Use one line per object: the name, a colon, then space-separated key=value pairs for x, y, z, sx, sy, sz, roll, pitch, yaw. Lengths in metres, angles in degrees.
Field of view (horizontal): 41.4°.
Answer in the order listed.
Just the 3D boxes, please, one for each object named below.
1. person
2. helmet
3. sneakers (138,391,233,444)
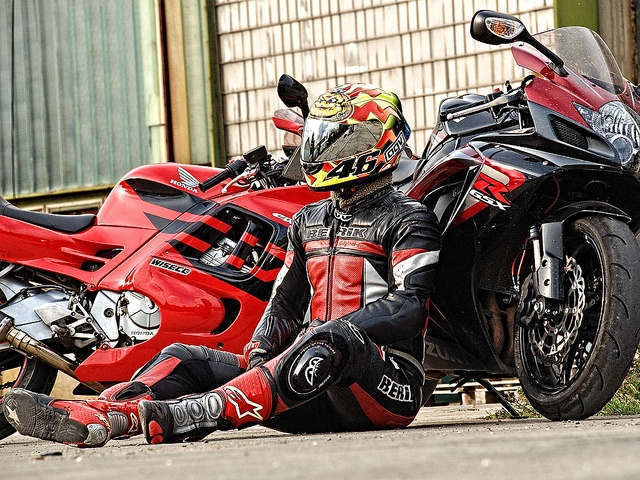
person: x=-0.211 y=0.078 z=3.341 sx=1.397 sy=1.464 sz=0.658 roll=-2 pitch=-2 yaw=-18
helmet: x=0.131 y=-0.416 z=3.498 sx=0.479 sy=0.392 sz=0.346 roll=-5 pitch=1 yaw=-38
sneakers: x=-0.468 y=0.623 z=2.962 sx=0.264 sy=0.117 sz=0.155 roll=-9 pitch=-23 yaw=-22
